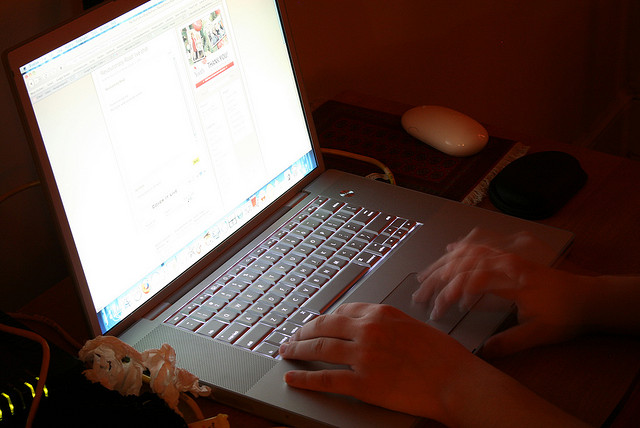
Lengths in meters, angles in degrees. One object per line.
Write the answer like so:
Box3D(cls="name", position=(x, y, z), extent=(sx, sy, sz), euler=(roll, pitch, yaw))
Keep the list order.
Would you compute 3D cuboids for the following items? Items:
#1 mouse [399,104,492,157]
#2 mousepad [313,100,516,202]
Box3D(cls="mouse", position=(0.267, -0.196, 1.073), extent=(0.178, 0.105, 0.053), euler=(26, -43, 34))
Box3D(cls="mousepad", position=(0.231, -0.239, 1.253), extent=(0.557, 0.202, 0.480), euler=(15, 24, 31))
